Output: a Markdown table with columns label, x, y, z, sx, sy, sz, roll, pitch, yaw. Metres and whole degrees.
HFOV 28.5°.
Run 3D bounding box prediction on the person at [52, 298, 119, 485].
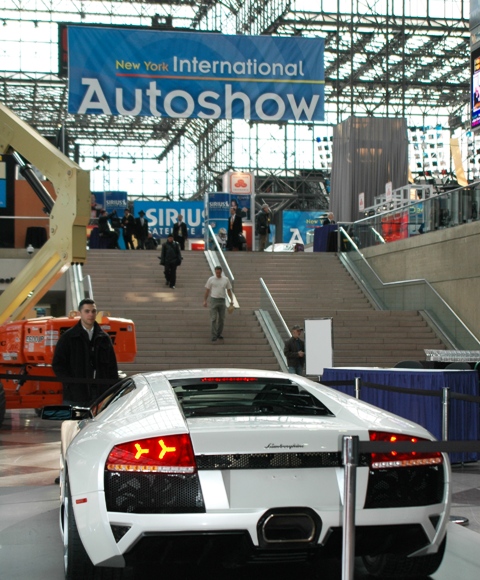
| label | x | y | z | sx | sy | sz | roll | pitch | yaw |
| --- | --- | --- | --- | --- | --- | --- | --- | --- | --- |
| person | -1.309 | 0.864 | 7.930 | 0.485 | 1.739 | 0.426 | -1 | 29 | -18 |

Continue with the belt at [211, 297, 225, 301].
| label | x | y | z | sx | sy | sz | roll | pitch | yaw |
| --- | --- | --- | --- | --- | --- | --- | --- | --- | --- |
| belt | -0.399 | 0.154 | 16.289 | 0.216 | 0.079 | 0.152 | -2 | 7 | -2 |

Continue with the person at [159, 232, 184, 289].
| label | x | y | z | sx | sy | sz | roll | pitch | yaw |
| --- | --- | --- | --- | --- | --- | --- | --- | --- | --- |
| person | -1.549 | -0.618 | 20.804 | 0.441 | 1.215 | 0.938 | -2 | 6 | -5 |

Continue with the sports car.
| label | x | y | z | sx | sy | sz | roll | pitch | yaw |
| --- | --- | --- | --- | --- | --- | --- | --- | --- | --- |
| sports car | 0.035 | 1.019 | 4.421 | 1.812 | 0.997 | 1.138 | -1 | 6 | 7 |

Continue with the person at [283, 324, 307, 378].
| label | x | y | z | sx | sy | sz | roll | pitch | yaw |
| --- | --- | --- | --- | --- | --- | --- | --- | --- | --- |
| person | 0.871 | 1.092 | 14.426 | 0.306 | 1.111 | 0.286 | -16 | 24 | -30 |
